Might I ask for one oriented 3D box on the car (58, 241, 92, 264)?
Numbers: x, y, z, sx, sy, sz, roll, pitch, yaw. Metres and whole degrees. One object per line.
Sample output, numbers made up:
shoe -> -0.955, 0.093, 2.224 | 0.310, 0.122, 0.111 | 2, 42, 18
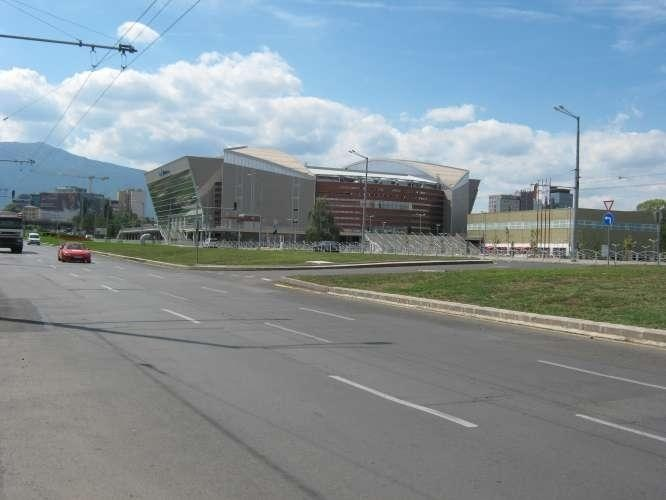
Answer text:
car -> -20.014, 0.197, 49.728 | 2.146, 1.297, 2.723 | -1, 6, -25
